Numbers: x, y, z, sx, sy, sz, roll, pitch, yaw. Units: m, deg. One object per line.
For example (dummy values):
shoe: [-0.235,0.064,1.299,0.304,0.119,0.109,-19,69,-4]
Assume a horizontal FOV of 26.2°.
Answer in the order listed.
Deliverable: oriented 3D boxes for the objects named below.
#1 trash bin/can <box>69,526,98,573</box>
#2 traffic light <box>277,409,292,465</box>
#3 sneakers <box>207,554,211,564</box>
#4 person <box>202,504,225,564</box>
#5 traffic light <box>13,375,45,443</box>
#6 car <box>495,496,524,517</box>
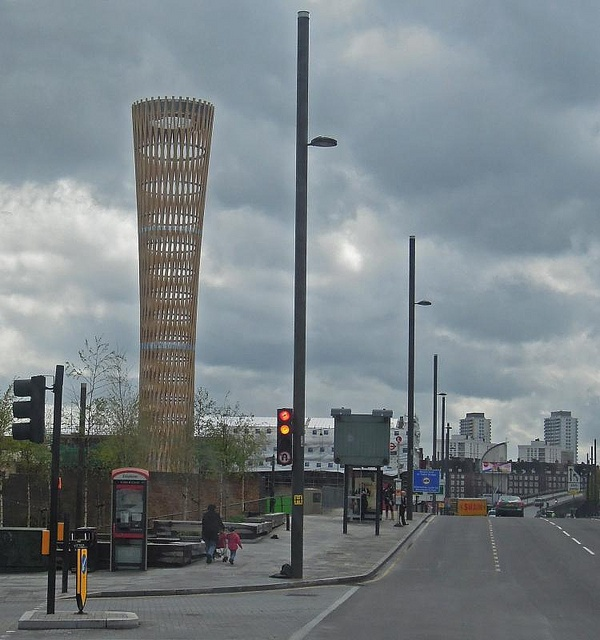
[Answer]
trash bin/can: [-5.414,5.769,32.015,0.806,1.330,0.781,10,-14,-41]
traffic light: [-0.333,2.782,30.791,0.369,1.260,0.847,0,-10,0]
sneakers: [-2.354,6.322,34.018,0.130,0.234,0.415,1,-11,-6]
person: [-2.307,5.739,34.454,0.540,1.553,1.134,1,-10,-4]
traffic light: [-5.060,1.694,24.163,0.601,1.267,0.655,3,-10,-14]
car: [12.407,11.043,76.391,1.004,0.853,2.507,-1,-4,4]
